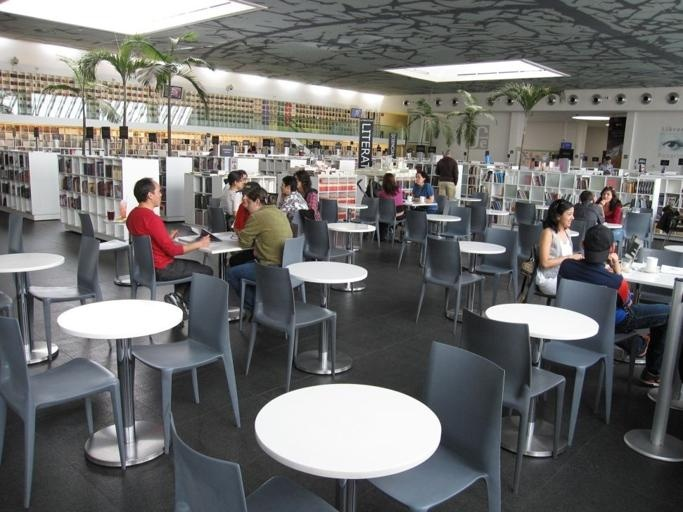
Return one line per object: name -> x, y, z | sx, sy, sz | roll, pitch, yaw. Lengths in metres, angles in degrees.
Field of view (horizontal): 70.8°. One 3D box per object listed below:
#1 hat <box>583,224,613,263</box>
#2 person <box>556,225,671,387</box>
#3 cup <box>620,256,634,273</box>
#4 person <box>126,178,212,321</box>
hat -> 2.132, -0.113, 4.017 | 0.227, 0.331, 0.163 | 9, -19, 27
person -> 2.446, 0.436, 4.358 | 0.862, 1.454, 0.676 | -10, 13, -15
cup -> 2.829, 0.078, 4.797 | 0.153, 0.152, 0.126 | -7, 13, -22
person -> -1.924, -0.066, 5.470 | 0.871, 1.616, 0.760 | -10, 16, -44
